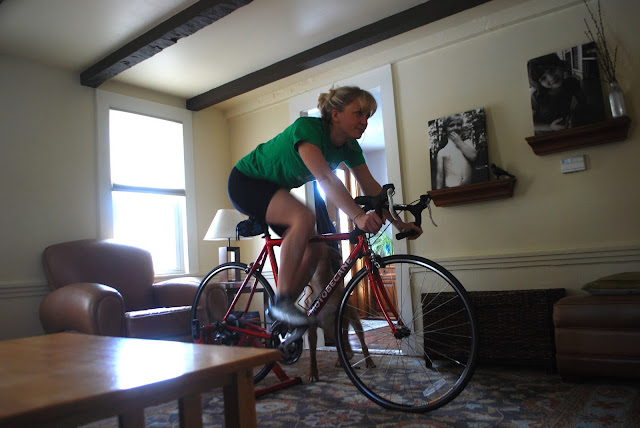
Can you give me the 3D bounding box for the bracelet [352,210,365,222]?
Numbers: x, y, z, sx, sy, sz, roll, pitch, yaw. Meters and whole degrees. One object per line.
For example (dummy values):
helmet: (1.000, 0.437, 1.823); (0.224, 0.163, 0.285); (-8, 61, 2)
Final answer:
bracelet: (0.221, 0.016, 2.656); (0.070, 0.055, 0.056); (2, -21, -44)
